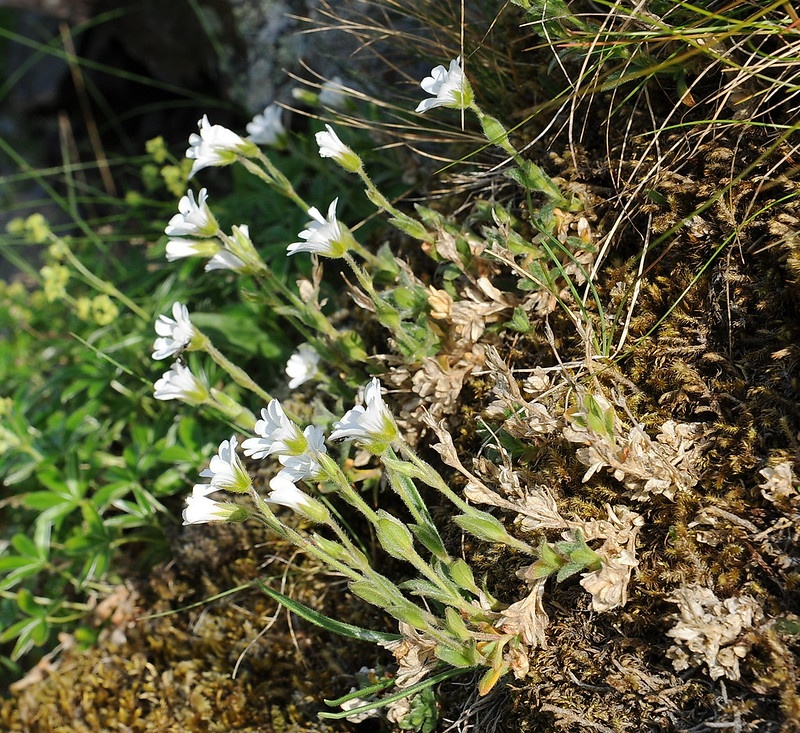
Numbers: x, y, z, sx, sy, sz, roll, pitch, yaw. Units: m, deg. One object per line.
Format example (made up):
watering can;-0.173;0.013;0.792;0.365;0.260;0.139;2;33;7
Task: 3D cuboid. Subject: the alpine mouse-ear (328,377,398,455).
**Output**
alpine mouse-ear;-0.053;0.115;1.825;0.105;0.161;0.168;28;30;10

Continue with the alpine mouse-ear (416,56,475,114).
alpine mouse-ear;0.124;-0.714;2.101;0.131;0.152;0.215;4;56;3

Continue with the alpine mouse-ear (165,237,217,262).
alpine mouse-ear;-0.539;-0.312;2.219;0.149;0.064;0.046;-4;91;-35

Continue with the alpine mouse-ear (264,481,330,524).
alpine mouse-ear;-0.218;0.293;1.855;0.170;0.071;0.063;30;23;-24

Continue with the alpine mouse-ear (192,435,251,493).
alpine mouse-ear;-0.378;0.220;1.914;0.080;0.136;0.129;18;37;-31

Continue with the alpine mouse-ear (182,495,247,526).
alpine mouse-ear;-0.412;0.326;1.892;0.140;0.062;0.056;5;28;-24

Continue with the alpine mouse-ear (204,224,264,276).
alpine mouse-ear;-0.420;-0.318;2.272;0.168;0.125;0.147;7;25;5

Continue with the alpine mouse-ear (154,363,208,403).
alpine mouse-ear;-0.583;0.052;2.227;0.137;0.062;0.106;3;78;-12

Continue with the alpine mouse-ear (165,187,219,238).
alpine mouse-ear;-0.518;-0.412;2.198;0.098;0.144;0.122;10;82;-32
